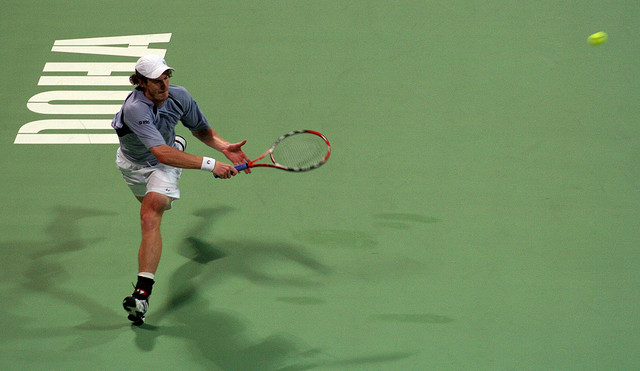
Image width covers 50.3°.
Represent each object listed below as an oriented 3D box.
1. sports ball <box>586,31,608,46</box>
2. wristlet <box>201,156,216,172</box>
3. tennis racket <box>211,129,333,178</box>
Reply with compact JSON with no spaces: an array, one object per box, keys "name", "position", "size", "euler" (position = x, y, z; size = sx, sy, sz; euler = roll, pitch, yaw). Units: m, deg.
[{"name":"sports ball","position":[4.706,-2.460,11.508],"size":[0.279,0.088,0.212],"euler":[-17,-25,-29]},{"name":"wristlet","position":[-1.493,-0.280,9.162],"size":[0.192,0.172,0.164],"euler":[4,22,-2]},{"name":"tennis racket","position":[-0.750,-0.321,9.559],"size":[1.829,0.668,0.101],"euler":[-15,-24,1]}]
